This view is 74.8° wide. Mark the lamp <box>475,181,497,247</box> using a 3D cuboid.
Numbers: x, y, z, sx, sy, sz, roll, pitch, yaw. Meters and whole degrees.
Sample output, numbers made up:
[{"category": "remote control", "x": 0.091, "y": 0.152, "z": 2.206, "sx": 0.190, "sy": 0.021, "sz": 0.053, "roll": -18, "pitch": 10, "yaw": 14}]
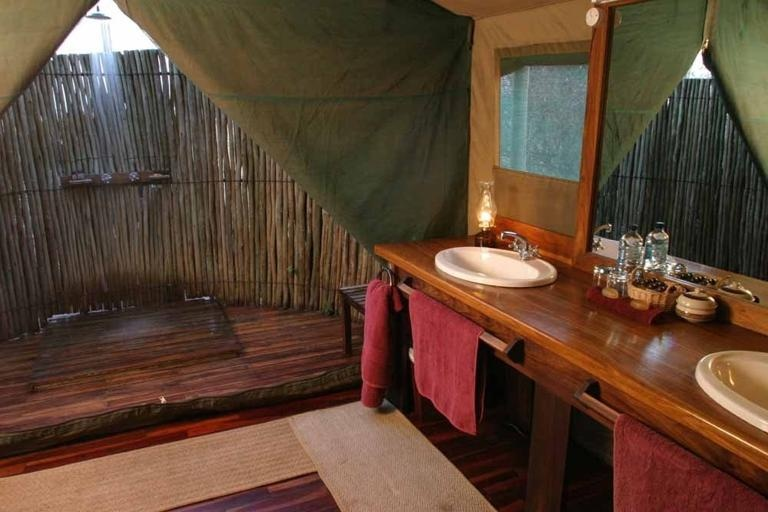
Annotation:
[{"category": "lamp", "x": 0.635, "y": -0.267, "z": 3.142, "sx": 0.126, "sy": 0.378, "sz": 0.366, "roll": 2, "pitch": 15, "yaw": 12}]

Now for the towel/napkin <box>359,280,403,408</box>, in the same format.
[{"category": "towel/napkin", "x": -0.013, "y": 0.561, "z": 3.144, "sx": 0.271, "sy": 0.825, "sz": 0.163, "roll": 4, "pitch": 16, "yaw": 20}]

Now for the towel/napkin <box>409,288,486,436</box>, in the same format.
[{"category": "towel/napkin", "x": 0.330, "y": 0.522, "z": 2.605, "sx": 0.136, "sy": 0.719, "sz": 0.781, "roll": -13, "pitch": 21, "yaw": -25}]

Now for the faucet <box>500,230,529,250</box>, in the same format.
[{"category": "faucet", "x": 0.717, "y": -0.110, "z": 2.841, "sx": 0.097, "sy": 0.068, "sz": 0.204, "roll": 31, "pitch": -6, "yaw": -38}]

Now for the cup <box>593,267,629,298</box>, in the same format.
[{"category": "cup", "x": 1.065, "y": 0.124, "z": 2.372, "sx": 0.175, "sy": 0.162, "sz": 0.103, "roll": 2, "pitch": 8, "yaw": 20}]
